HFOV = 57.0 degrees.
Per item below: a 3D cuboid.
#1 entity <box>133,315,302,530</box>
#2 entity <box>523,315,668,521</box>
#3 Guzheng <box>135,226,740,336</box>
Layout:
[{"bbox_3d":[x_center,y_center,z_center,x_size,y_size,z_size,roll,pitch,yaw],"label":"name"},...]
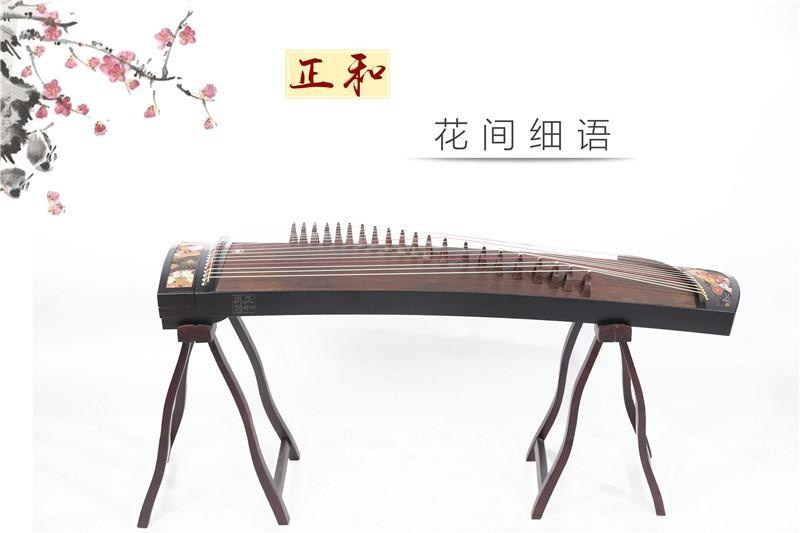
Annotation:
[{"bbox_3d":[-0.725,0.627,3.112,0.628,0.876,0.469,5,7,-6],"label":"entity"},{"bbox_3d":[0.868,0.625,3.146,0.588,0.853,0.539,7,7,10],"label":"entity"},{"bbox_3d":[0.132,0.065,2.778,1.813,0.299,0.370,1,44,-1],"label":"Guzheng"}]
